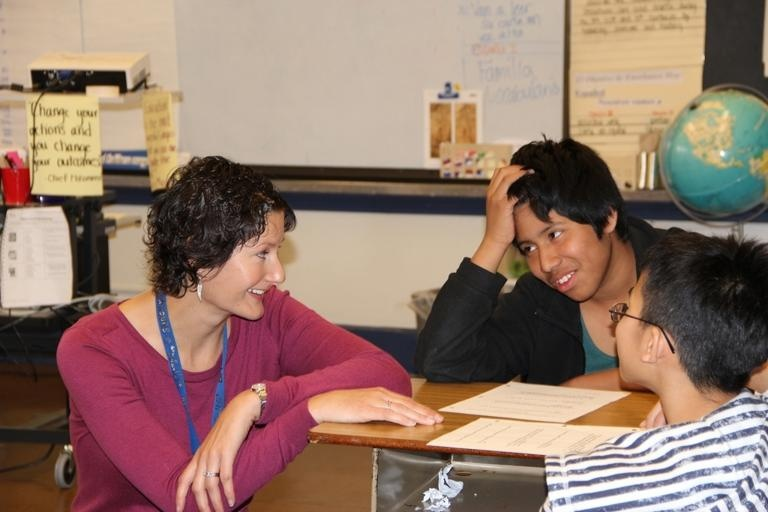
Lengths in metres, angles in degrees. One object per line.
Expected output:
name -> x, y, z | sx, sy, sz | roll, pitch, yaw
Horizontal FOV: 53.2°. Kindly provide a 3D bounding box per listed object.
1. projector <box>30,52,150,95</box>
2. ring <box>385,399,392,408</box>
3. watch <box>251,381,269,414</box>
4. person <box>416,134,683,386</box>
projector -> -1.205, -0.831, 3.490 | 0.734, 0.196, 0.420 | 2, 15, 7
ring -> 0.015, 0.412, 2.139 | 0.014, 0.023, 0.014 | 1, 4, 0
watch -> -0.364, 0.404, 2.180 | 0.031, 0.075, 0.055 | 0, 14, -30
person -> 0.537, 0.043, 2.818 | 0.862, 0.880, 0.721 | 4, 28, 5
